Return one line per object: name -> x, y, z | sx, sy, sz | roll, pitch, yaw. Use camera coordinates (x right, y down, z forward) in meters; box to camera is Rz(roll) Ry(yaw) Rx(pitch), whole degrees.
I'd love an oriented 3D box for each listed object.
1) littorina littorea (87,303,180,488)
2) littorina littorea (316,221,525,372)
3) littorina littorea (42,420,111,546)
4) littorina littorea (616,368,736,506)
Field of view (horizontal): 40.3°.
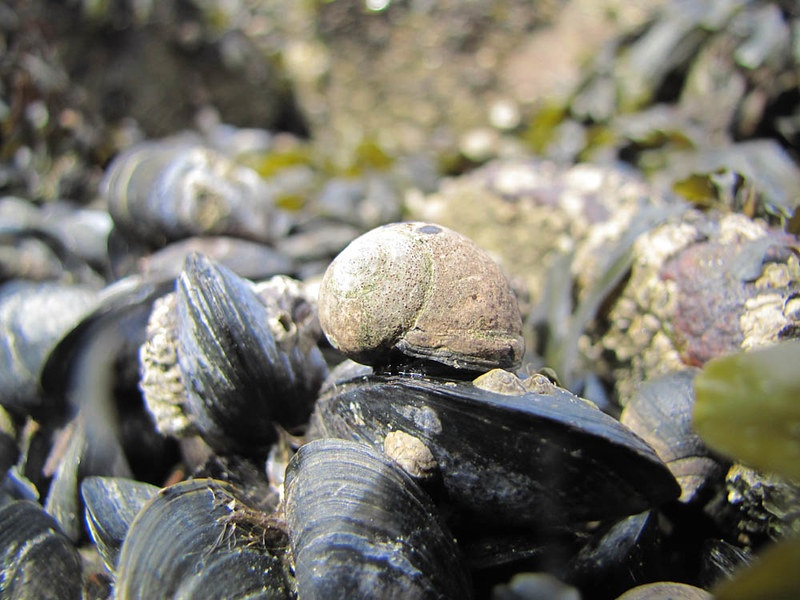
littorina littorea -> -0.979, 0.337, 3.933 | 0.143, 0.393, 0.576 | 6, 81, -31
littorina littorea -> 0.072, 0.006, 3.495 | 0.660, 0.374, 0.310 | 3, 37, 7
littorina littorea -> -1.139, 0.641, 3.753 | 0.172, 0.072, 0.339 | 13, 73, -18
littorina littorea -> 0.904, 0.441, 3.595 | 0.316, 0.113, 0.435 | 19, 83, 16
